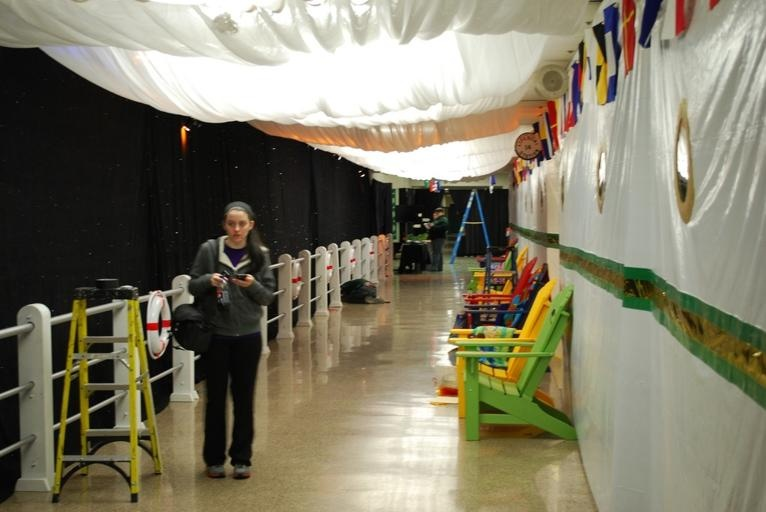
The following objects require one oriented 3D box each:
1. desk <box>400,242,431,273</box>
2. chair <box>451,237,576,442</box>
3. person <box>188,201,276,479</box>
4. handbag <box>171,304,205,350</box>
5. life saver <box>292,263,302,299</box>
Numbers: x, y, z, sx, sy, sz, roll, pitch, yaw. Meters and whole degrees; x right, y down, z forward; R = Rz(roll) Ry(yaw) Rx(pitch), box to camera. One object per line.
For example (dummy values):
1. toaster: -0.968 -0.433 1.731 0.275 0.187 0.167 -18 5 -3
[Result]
1. desk: 1.037 0.024 19.019 0.778 1.066 1.426 -1 3 16
2. chair: 1.199 0.911 5.421 1.294 1.506 1.232 0 0 6
3. person: -1.107 0.638 4.161 0.612 2.064 0.375 -2 3 -12
4. handbag: -1.364 0.507 4.051 0.263 0.329 0.371 -6 8 -15
5. life saver: -1.458 0.366 9.443 0.149 0.615 0.674 -2 3 -7
